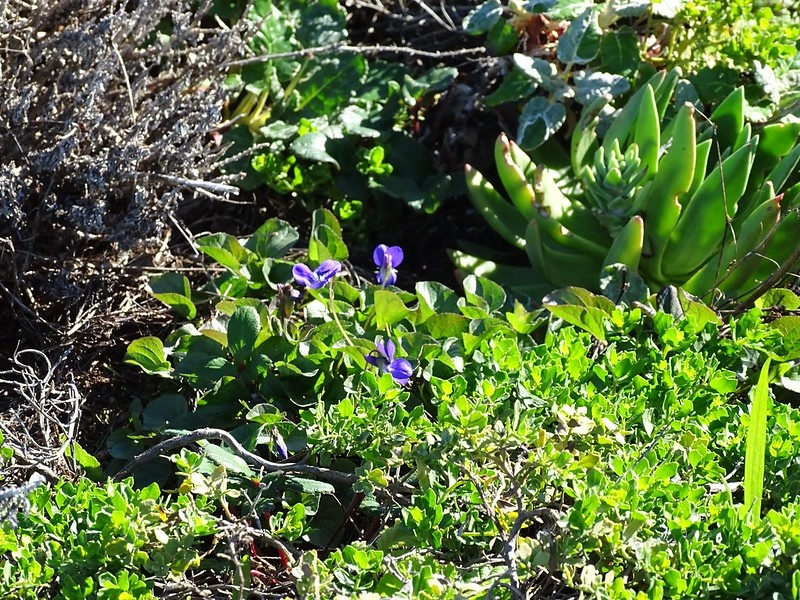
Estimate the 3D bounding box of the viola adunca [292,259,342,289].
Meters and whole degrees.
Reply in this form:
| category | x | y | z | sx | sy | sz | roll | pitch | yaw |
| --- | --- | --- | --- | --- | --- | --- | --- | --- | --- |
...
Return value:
| category | x | y | z | sx | sy | sz | roll | pitch | yaw |
| --- | --- | --- | --- | --- | --- | --- | --- | --- | --- |
| viola adunca | -0.176 | -0.060 | 1.928 | 0.070 | 0.034 | 0.066 | 7 | 42 | 25 |
